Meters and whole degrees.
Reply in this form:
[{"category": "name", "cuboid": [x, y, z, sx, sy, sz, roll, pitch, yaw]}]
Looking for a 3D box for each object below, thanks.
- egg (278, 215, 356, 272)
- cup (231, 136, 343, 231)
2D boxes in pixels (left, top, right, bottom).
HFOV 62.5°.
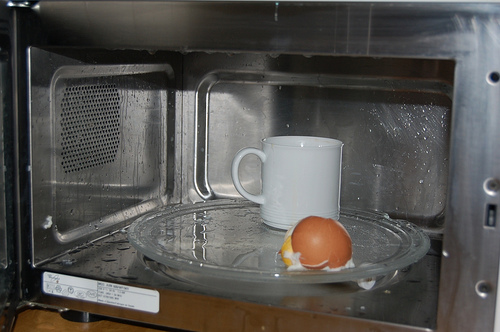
[{"category": "egg", "cuboid": [0.100, 0.110, 0.625, 0.117, 0.098, 0.100, -10, 19, 10]}, {"category": "cup", "cuboid": [0.058, 0.029, 0.753, 0.202, 0.156, 0.132, 2, 7, -4]}]
